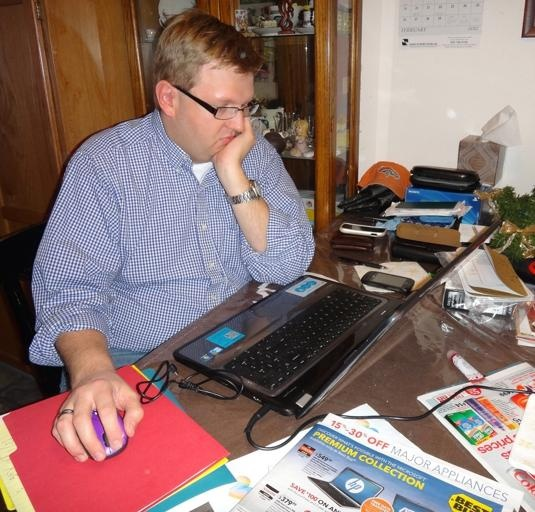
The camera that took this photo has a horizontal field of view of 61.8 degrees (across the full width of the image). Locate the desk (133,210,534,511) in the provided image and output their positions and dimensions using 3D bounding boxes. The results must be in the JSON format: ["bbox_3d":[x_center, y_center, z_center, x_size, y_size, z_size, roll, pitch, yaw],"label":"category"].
[{"bbox_3d":[0.054,0.171,0.816,0.424,0.276,0.243,-24,59,-43],"label":"desk"}]

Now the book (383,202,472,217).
[{"bbox_3d":[0.541,-0.160,1.529,0.183,0.023,0.106,1,21,18],"label":"book"}]

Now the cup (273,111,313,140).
[{"bbox_3d":[0.151,-0.619,2.173,0.163,0.150,0.179,-5,24,2],"label":"cup"}]

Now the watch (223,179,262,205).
[{"bbox_3d":[-0.060,-0.156,1.174,0.081,0.032,0.072,-9,26,16],"label":"watch"}]

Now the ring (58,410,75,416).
[{"bbox_3d":[-0.304,0.234,0.675,0.014,0.003,0.013,3,11,-1],"label":"ring"}]

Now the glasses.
[{"bbox_3d":[-0.116,-0.336,1.026,0.107,0.026,0.100,34,32,11],"label":"glasses"}]

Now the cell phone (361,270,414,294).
[{"bbox_3d":[0.320,0.068,1.191,0.103,0.021,0.057,8,29,30],"label":"cell phone"}]
